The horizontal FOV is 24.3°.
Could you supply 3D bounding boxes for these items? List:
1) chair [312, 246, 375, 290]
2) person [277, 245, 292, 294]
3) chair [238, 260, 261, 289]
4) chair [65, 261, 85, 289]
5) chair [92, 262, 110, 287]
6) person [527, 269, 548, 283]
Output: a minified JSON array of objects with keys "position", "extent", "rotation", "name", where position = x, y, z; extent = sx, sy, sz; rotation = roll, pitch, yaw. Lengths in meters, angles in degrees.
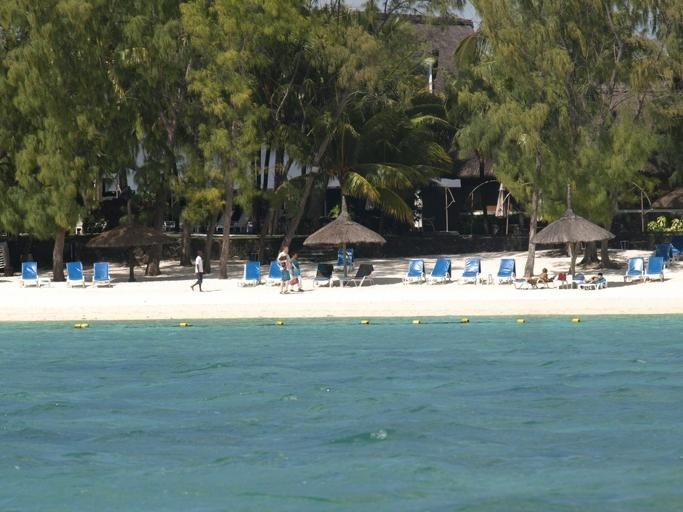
[{"position":[0.056,0.556,61.988],"extent":[1.397,0.937,1.923],"rotation":[2,11,7],"name":"chair"},{"position":[-2.168,0.499,57.957],"extent":[0.461,1.701,1.568],"rotation":[2,0,-2],"name":"person"},{"position":[-3.553,0.636,61.061],"extent":[0.569,0.728,1.059],"rotation":[1,11,-1],"name":"chair"},{"position":[-10.376,0.738,61.346],"extent":[0.874,1.269,0.907],"rotation":[-2,7,-16],"name":"chair"},{"position":[-9.311,0.718,61.101],"extent":[0.614,0.719,1.040],"rotation":[-1,7,-9],"name":"chair"},{"position":[7.203,0.719,58.086],"extent":[0.624,0.558,1.045],"rotation":[2,0,37],"name":"person"}]
